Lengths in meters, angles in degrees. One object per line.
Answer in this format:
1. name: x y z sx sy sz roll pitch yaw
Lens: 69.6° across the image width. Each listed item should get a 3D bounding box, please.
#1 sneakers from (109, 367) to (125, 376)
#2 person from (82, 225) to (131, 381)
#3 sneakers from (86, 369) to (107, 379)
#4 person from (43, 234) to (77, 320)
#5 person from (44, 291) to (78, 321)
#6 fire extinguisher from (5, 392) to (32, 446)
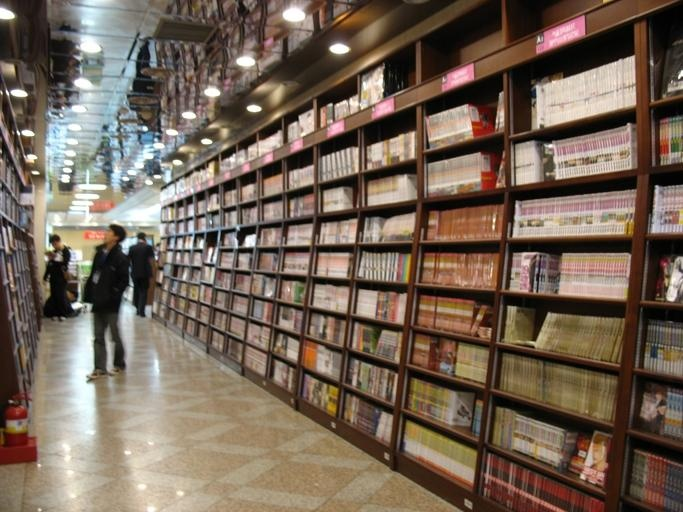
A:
1. sneakers: -3.036 1.566 6.649 0.224 0.104 0.083 15 -23 -30
2. person: -3.129 0.595 6.571 0.490 2.014 0.839 1 1 -26
3. sneakers: -3.205 1.557 6.440 0.230 0.105 0.099 14 -32 -35
4. person: -6.436 0.513 11.163 0.583 1.940 1.316 1 1 -30
5. person: -6.686 1.196 11.652 0.514 0.711 0.699 -18 -23 31
6. fire extinguisher: -2.690 1.363 4.064 0.176 0.414 0.220 1 1 -34
